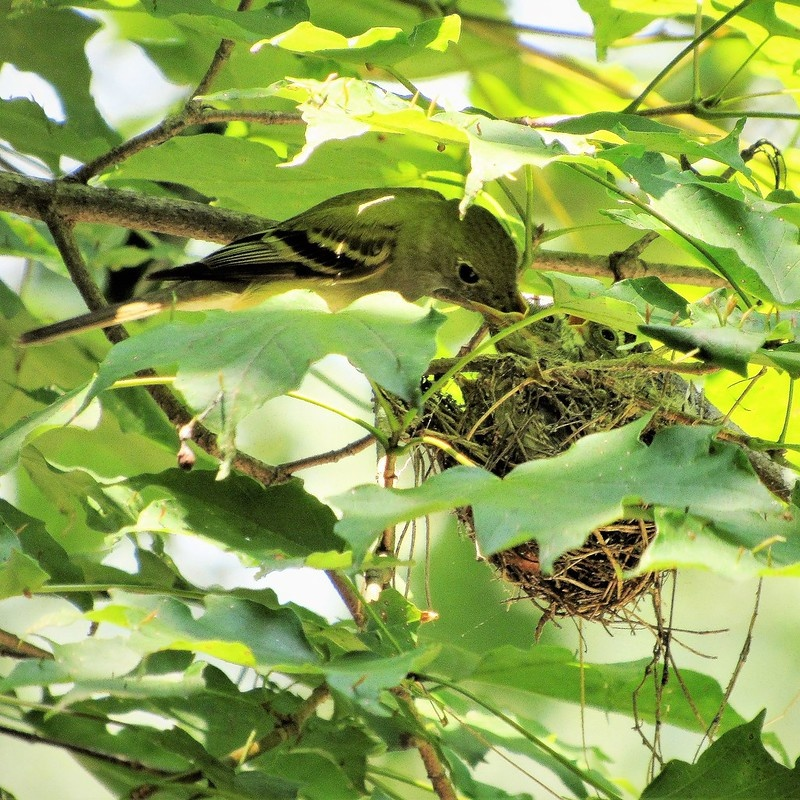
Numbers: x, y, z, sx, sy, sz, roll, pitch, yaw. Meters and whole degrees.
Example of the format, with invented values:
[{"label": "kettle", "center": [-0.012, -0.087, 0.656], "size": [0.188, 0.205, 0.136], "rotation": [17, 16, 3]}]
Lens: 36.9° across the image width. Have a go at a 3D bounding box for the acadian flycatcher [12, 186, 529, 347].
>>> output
[{"label": "acadian flycatcher", "center": [-0.320, -0.328, 3.411], "size": [1.365, 0.386, 0.363], "rotation": [5, 2, 22]}]
